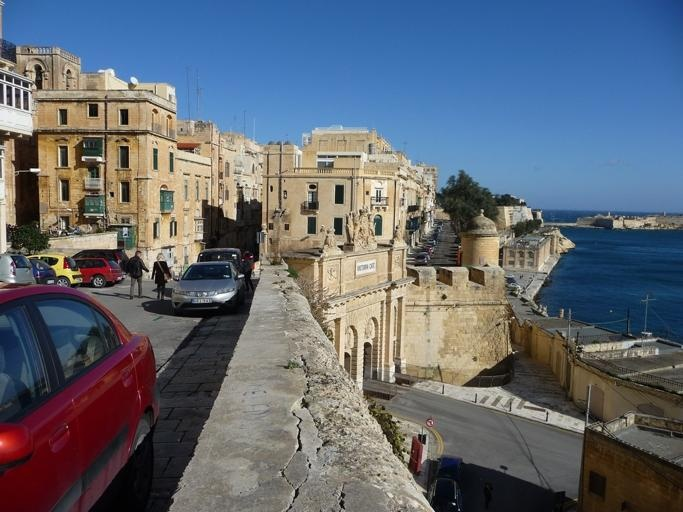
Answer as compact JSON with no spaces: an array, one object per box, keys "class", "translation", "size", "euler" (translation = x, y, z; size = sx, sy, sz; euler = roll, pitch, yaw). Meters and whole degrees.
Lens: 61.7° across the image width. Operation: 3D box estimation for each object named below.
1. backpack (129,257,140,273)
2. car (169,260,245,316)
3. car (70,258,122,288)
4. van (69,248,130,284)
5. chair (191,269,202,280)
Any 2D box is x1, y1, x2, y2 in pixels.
[{"class":"backpack","translation":[-6.281,0.316,17.276],"size":[0.356,0.575,0.278],"euler":[2,6,-24]},{"class":"car","translation":[-3.285,0.894,14.102],"size":[1.643,1.093,1.835],"euler":[4,6,-10]},{"class":"car","translation":[-9.311,0.654,21.683],"size":[1.500,0.725,0.935],"euler":[6,4,4]},{"class":"van","translation":[-9.453,0.576,21.972],"size":[1.968,1.075,1.279],"euler":[7,6,8]},{"class":"chair","translation":[-3.731,0.488,14.611],"size":[0.243,0.247,0.426],"euler":[3,6,-8]}]
